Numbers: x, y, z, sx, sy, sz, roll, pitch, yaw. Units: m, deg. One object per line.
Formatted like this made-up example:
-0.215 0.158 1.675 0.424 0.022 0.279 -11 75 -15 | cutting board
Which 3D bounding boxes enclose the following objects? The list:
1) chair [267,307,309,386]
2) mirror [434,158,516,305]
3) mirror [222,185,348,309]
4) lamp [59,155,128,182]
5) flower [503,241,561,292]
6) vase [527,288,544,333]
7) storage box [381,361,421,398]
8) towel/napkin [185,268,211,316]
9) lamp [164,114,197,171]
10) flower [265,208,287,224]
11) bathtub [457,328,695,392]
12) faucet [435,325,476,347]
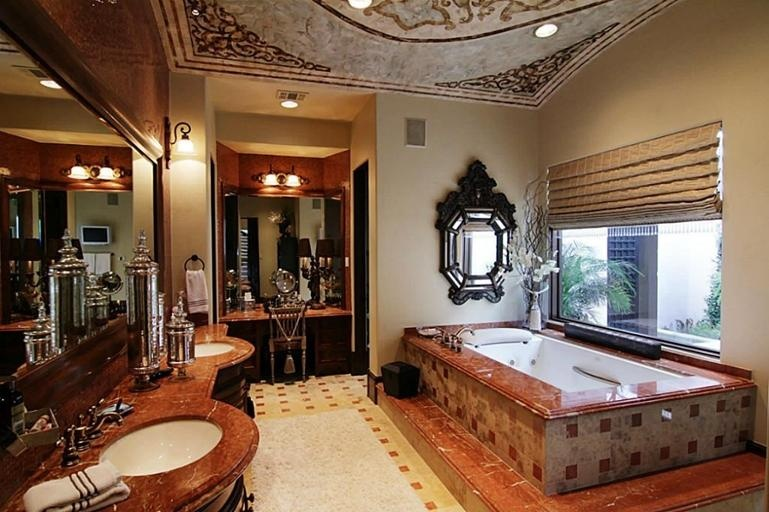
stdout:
-1.136 0.996 5.823 0.438 0.885 0.561 0 0 -9 | chair
0.977 -0.253 5.319 0.928 1.506 0.175 0 0 -24 | mirror
-1.268 -0.085 6.094 1.513 1.600 0.529 1 -1 -2 | mirror
-1.690 -0.501 2.865 0.205 0.094 0.255 6 10 25 | lamp
1.515 0.131 5.462 0.582 0.639 0.557 2 1 -7 | flower
1.571 0.574 5.247 0.121 0.404 0.273 1 0 15 | vase
0.167 1.192 4.854 0.294 0.298 0.292 0 0 -34 | storage box
-1.708 0.326 4.542 0.227 0.359 0.099 -6 4 -39 | towel/napkin
-1.798 -0.989 4.386 0.251 0.415 0.183 -2 6 -5 | lamp
-1.355 -0.487 6.132 0.205 0.200 0.081 1 -1 -11 | flower
1.621 0.975 4.631 1.711 0.336 0.616 0 0 31 | bathtub
0.672 0.755 4.793 0.544 0.192 0.145 -1 1 -29 | faucet
